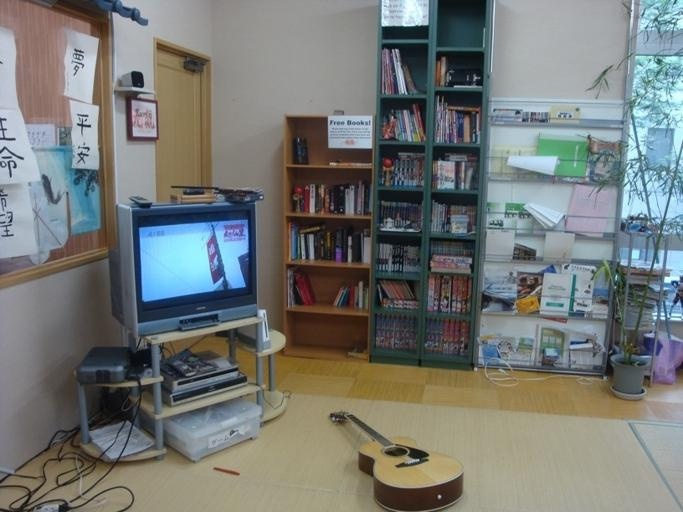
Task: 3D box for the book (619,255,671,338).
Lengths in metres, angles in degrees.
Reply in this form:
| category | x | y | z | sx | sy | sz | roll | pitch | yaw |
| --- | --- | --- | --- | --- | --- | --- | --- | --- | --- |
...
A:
| category | x | y | z | sx | sy | sz | roll | pitch | yaw |
| --- | --- | --- | --- | --- | --- | --- | --- | --- | --- |
| book | 2.447 | 0.325 | 4.460 | 0.434 | 0.574 | 0.192 | -2 | 3 | 5 |

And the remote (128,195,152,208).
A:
| category | x | y | z | sx | sy | sz | roll | pitch | yaw |
| --- | --- | --- | --- | --- | --- | --- | --- | --- | --- |
| remote | -1.262 | -0.337 | 3.472 | 0.138 | 0.054 | 0.070 | 9 | 15 | 31 |

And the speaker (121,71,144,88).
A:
| category | x | y | z | sx | sy | sz | roll | pitch | yaw |
| --- | --- | --- | --- | --- | --- | --- | --- | --- | --- |
| speaker | -1.512 | -1.276 | 3.987 | 0.149 | 0.110 | 0.119 | 7 | 14 | 24 |

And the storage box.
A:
| category | x | y | z | sx | sy | sz | roll | pitch | yaw |
| --- | --- | --- | --- | --- | --- | --- | --- | --- | --- |
| storage box | -0.896 | 1.083 | 3.669 | 0.427 | 0.170 | 0.437 | 1 | 4 | 37 |

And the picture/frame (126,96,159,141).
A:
| category | x | y | z | sx | sy | sz | roll | pitch | yaw |
| --- | --- | --- | --- | --- | --- | --- | --- | --- | --- |
| picture/frame | -1.519 | -1.048 | 4.180 | 0.048 | 0.252 | 0.354 | 1 | 10 | 18 |
